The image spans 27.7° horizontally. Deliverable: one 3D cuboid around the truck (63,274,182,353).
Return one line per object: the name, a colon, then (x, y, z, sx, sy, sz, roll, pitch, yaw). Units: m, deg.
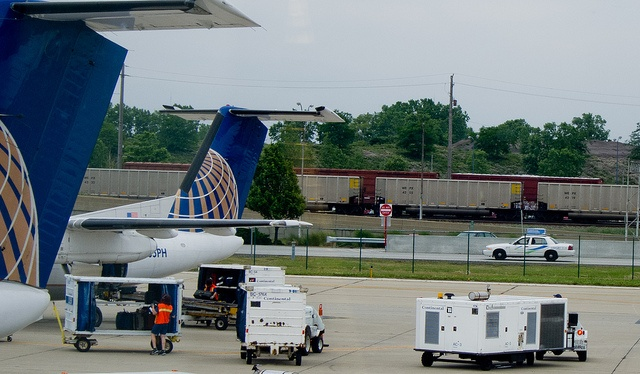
truck: (-13.261, 7.954, 85.836, 8.118, 4.056, 4.727, 1, 0, -9)

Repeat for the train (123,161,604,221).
train: (4.052, 0.509, 126.850, 55.007, 6.259, 14.746, 0, -1, 18)
